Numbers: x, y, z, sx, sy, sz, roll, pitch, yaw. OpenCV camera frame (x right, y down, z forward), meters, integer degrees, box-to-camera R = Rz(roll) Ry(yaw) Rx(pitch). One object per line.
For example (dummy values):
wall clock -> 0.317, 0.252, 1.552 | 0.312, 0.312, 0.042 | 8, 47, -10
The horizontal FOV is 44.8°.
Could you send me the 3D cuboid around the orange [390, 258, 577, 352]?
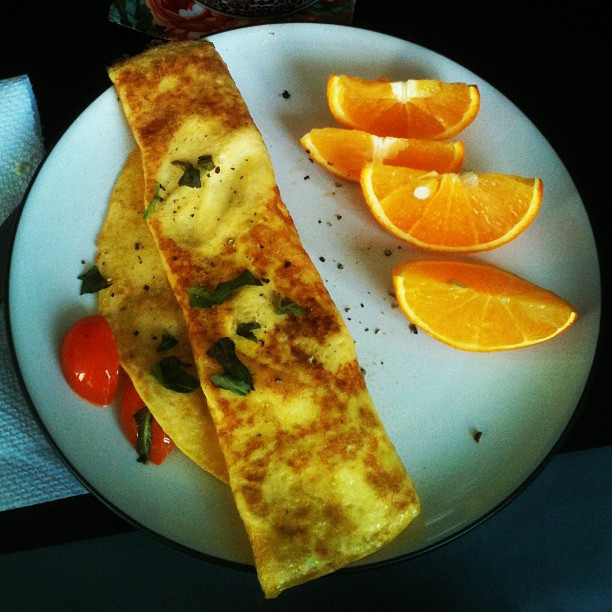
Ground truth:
orange -> 0.430, -0.005, 1.860 | 0.436, 0.086, 0.230 | 23, 80, 3
